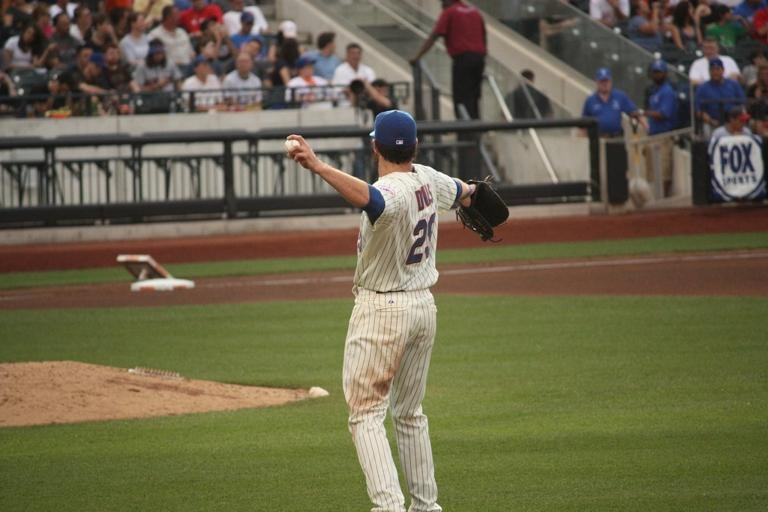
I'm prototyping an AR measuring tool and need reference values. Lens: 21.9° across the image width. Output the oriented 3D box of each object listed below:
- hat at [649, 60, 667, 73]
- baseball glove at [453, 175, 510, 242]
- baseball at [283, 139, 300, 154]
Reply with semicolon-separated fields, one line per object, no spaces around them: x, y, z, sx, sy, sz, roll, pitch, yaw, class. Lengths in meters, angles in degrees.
2.344;-1.666;16.942;0.090;0.066;0.123;4;2;22;hat
0.760;-0.397;14.872;0.362;0.480;0.204;-31;2;14;baseball glove
-0.667;-0.809;14.091;0.072;0.092;0.166;-6;5;-26;baseball
